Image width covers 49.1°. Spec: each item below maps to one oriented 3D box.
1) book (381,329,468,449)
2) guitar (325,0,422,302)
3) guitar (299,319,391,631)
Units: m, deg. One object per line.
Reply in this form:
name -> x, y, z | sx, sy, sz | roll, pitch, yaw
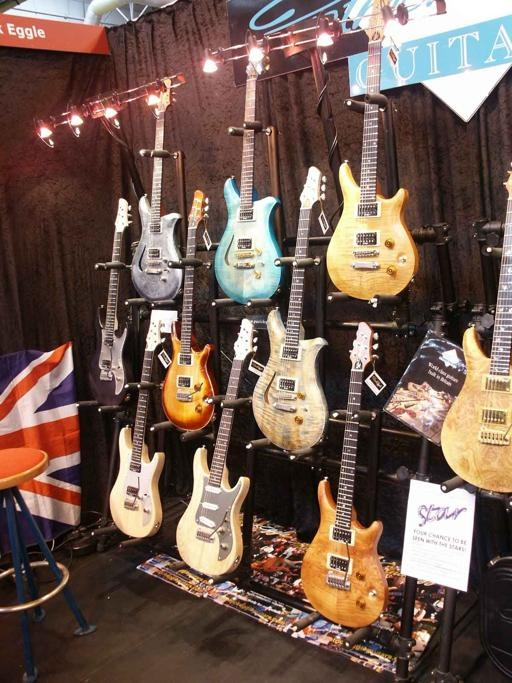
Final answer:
book -> 0.530, 0.133, 1.700 | 0.301, 0.307, 0.074 | 35, 18, 35
guitar -> 0.358, -0.646, 1.900 | 0.274, 1.003, 0.333 | -6, 9, -3
guitar -> 0.273, 0.517, 1.903 | 0.315, 1.129, 0.365 | -4, 9, 11
